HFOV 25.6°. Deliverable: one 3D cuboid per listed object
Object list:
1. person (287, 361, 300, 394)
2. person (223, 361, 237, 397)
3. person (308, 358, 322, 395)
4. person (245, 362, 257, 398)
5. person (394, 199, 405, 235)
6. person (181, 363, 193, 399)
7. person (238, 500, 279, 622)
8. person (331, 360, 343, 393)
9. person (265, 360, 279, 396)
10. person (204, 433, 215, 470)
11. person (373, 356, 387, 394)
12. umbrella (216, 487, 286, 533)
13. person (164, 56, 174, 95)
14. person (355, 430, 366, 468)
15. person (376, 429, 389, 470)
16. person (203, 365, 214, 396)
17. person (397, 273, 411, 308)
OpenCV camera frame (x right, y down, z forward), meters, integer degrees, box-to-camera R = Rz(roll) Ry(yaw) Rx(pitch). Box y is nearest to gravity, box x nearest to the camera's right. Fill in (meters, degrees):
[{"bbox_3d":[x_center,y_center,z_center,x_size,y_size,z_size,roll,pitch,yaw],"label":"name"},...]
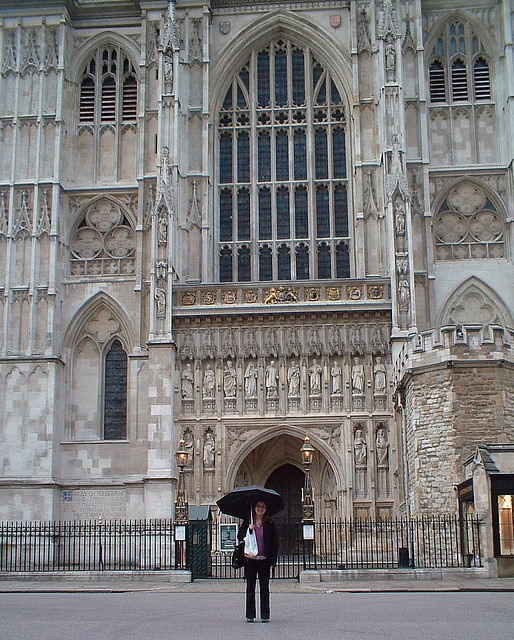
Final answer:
[{"bbox_3d":[1.168,1.939,36.891,0.414,1.143,0.129,0,-13,-2],"label":"person"},{"bbox_3d":[-0.893,1.954,37.062,0.452,1.237,0.144,0,-13,-3],"label":"person"},{"bbox_3d":[1.881,1.879,36.821,0.402,1.201,0.187,-1,-13,4],"label":"person"},{"bbox_3d":[-0.224,1.955,36.978,0.395,1.182,0.168,1,-13,-6],"label":"person"},{"bbox_3d":[4.740,-3.378,37.714,0.362,1.302,0.236,-3,-13,8],"label":"person"},{"bbox_3d":[-2.291,2.030,37.200,0.410,1.283,0.237,1,-13,-6],"label":"person"},{"bbox_3d":[0.000,3.569,16.890,0.580,1.794,1.117,-1,-13,0],"label":"person"},{"bbox_3d":[2.559,1.873,36.738,0.332,1.071,0.149,-2,-13,5],"label":"person"},{"bbox_3d":[0.472,1.924,36.957,0.451,1.196,0.126,-2,-13,4],"label":"person"},{"bbox_3d":[-1.558,4.170,36.391,0.372,1.265,0.319,-1,-13,1],"label":"person"},{"bbox_3d":[3.940,1.789,36.595,0.410,1.187,0.174,-2,-13,7],"label":"person"},{"bbox_3d":[-0.113,3.411,20.192,0.830,0.324,0.904,-17,-40,18],"label":"umbrella"},{"bbox_3d":[-3.191,-8.716,40.720,0.305,1.444,0.152,-1,-13,1],"label":"person"},{"bbox_3d":[3.257,4.043,35.898,0.387,1.274,0.369,-2,-13,6],"label":"person"},{"bbox_3d":[3.947,4.016,35.780,0.409,1.271,0.281,-3,-13,9],"label":"person"},{"bbox_3d":[-1.591,2.017,37.167,0.372,1.138,0.194,-1,-13,0],"label":"person"},{"bbox_3d":[4.739,-0.896,36.745,0.347,1.180,0.240,-4,-13,14],"label":"person"}]
